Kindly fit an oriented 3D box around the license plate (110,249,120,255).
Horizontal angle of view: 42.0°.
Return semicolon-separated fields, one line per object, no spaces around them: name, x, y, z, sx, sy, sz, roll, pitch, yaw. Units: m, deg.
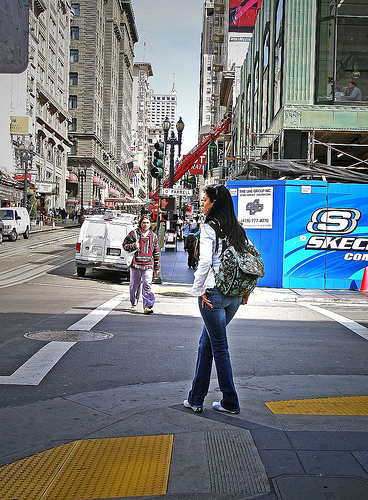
license plate;-2.684;0.049;18.686;0.253;0.181;0.059;4;-4;1

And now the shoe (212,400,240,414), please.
shoe;0.348;1.304;3.981;0.212;0.102;0.078;21;11;33

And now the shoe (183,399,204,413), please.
shoe;0.079;1.285;3.989;0.177;0.085;0.065;18;12;40

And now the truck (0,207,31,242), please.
truck;-12.465;-1.997;35.321;1.470;1.455;2.758;-1;-3;4

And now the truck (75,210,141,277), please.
truck;-3.085;-0.144;20.995;2.421;2.793;4.608;6;-2;1

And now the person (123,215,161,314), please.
person;-0.929;0.320;10.938;0.717;2.226;0.879;-2;3;-24

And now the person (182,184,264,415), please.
person;0.332;0.410;4.092;0.678;1.958;0.568;0;3;7

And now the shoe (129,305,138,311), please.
shoe;-1.181;1.338;11.160;0.117;0.140;0.304;0;-7;-1

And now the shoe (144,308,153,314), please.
shoe;-0.771;1.358;10.612;0.082;0.113;0.155;3;-7;-40

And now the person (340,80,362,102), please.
person;7.999;-7.538;22.826;1.164;1.111;0.564;-3;4;-36

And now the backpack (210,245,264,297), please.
backpack;0.502;0.166;3.983;0.411;0.433;0.394;8;5;29
